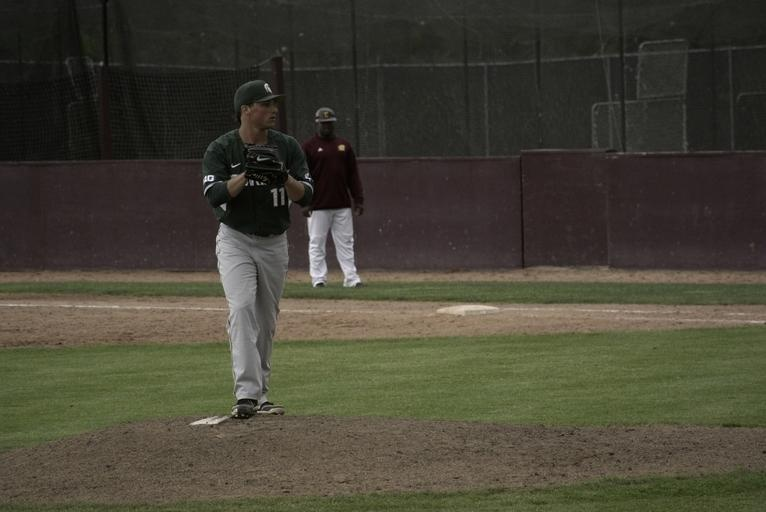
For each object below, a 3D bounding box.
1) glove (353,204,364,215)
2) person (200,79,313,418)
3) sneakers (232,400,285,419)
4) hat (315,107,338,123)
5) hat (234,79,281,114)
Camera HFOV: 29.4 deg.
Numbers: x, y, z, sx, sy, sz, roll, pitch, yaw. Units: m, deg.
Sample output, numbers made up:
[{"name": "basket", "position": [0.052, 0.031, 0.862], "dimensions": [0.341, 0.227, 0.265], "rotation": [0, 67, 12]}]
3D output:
[{"name": "glove", "position": [-0.360, -0.740, 22.597], "dimensions": [0.141, 0.162, 0.063], "rotation": [2, 5, 11]}, {"name": "person", "position": [-1.429, -0.104, 16.589], "dimensions": [1.139, 3.785, 0.682], "rotation": [-2, 4, -8]}, {"name": "sneakers", "position": [-1.438, 1.687, 16.482], "dimensions": [0.678, 0.271, 0.217], "rotation": [-2, 3, -18]}, {"name": "hat", "position": [-0.872, -2.194, 22.824], "dimensions": [0.363, 0.256, 0.482], "rotation": [-1, 5, -12]}, {"name": "hat", "position": [-1.425, -1.864, 16.633], "dimensions": [0.589, 0.268, 0.397], "rotation": [-10, 4, 27]}]
